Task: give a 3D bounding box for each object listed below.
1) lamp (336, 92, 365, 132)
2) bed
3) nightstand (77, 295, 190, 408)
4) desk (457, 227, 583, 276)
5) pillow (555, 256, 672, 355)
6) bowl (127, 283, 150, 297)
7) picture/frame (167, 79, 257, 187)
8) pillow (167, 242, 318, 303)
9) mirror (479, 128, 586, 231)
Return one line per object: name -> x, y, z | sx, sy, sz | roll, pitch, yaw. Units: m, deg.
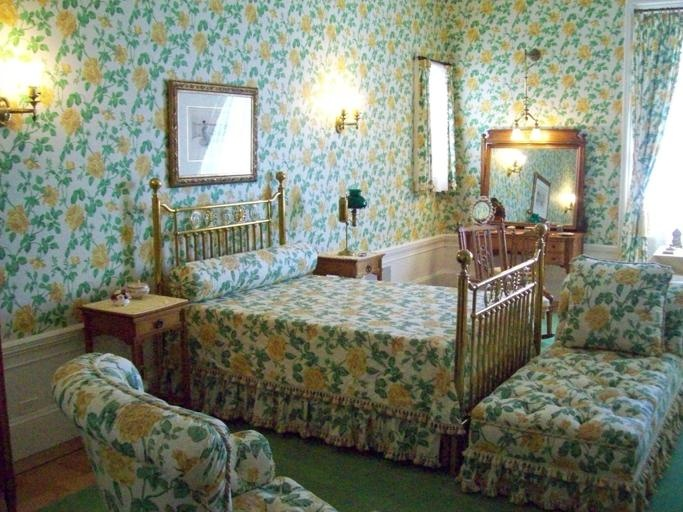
lamp -> 0.080, -1.516, 5.265 | 0.127, 0.444, 0.414 | 5, 10, 32
bed -> 0.079, 0.309, 3.904 | 2.421, 1.808, 1.692 | 3, 11, 32
nightstand -> -1.259, 0.656, 3.428 | 0.484, 0.684, 0.490 | 4, 13, 21
desk -> 2.253, -0.029, 6.179 | 1.065, 0.723, 0.410 | 7, 27, 28
pillow -> 1.825, 0.354, 3.357 | 0.537, 0.588, 0.222 | 4, -27, 32
bowl -> -1.384, 0.223, 3.442 | 0.099, 0.078, 0.106 | 1, 2, 0
picture/frame -> -1.054, -0.995, 4.008 | 0.064, 0.774, 0.859 | 6, 9, 36
pillow -> -0.855, 0.103, 4.041 | 0.337, 0.364, 1.603 | 21, 16, 37
mirror -> 2.399, -0.929, 6.163 | 1.279, 1.340, 0.145 | 4, 8, 28
